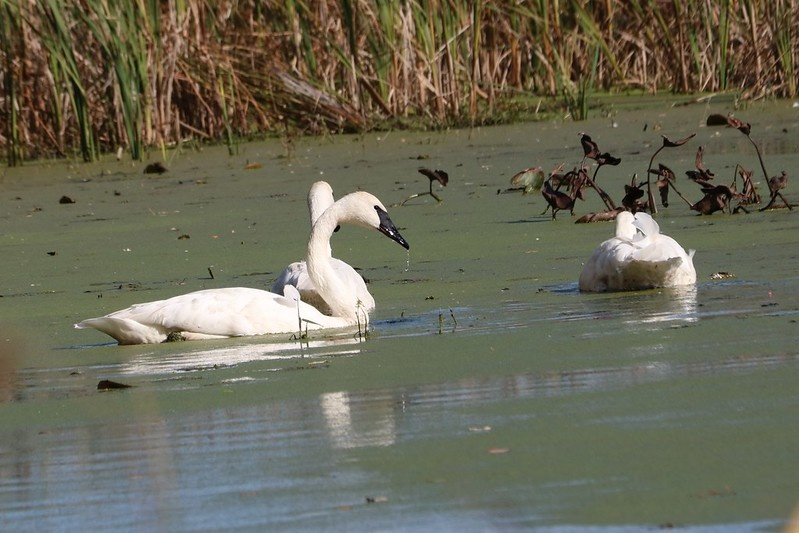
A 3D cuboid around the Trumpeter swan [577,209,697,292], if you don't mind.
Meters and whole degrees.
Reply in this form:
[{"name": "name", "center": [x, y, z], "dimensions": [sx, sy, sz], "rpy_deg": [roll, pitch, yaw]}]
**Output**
[{"name": "Trumpeter swan", "center": [1.900, -0.116, 10.223], "dimensions": [0.626, 0.466, 0.952], "rpy_deg": [-3, 10, 2]}]
